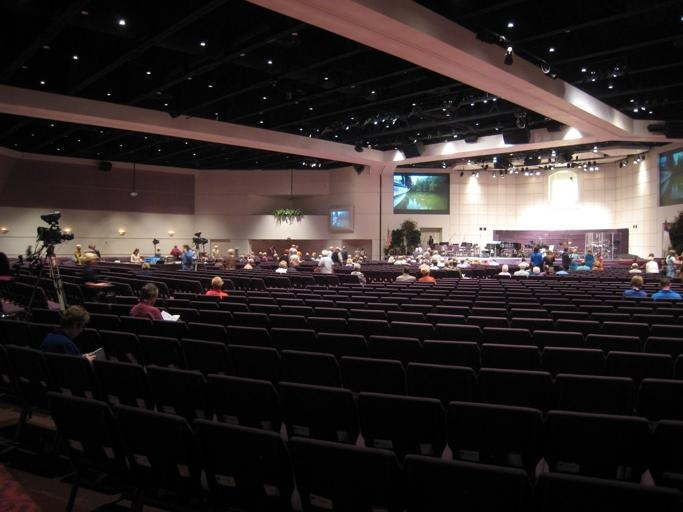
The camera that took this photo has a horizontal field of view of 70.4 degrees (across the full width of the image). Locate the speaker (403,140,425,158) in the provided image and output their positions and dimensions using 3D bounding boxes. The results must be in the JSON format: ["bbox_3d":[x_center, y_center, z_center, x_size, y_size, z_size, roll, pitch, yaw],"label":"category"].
[{"bbox_3d":[2.974,-4.597,20.859,0.819,0.547,1.087,10,-3,-34],"label":"speaker"}]

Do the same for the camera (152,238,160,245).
[{"bbox_3d":[-9.055,-0.709,23.494,0.399,0.169,0.533,0,6,-16],"label":"camera"}]

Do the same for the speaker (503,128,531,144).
[{"bbox_3d":[6.446,-4.450,17.960,0.671,0.544,0.880,0,0,-44],"label":"speaker"}]

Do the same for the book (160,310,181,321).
[{"bbox_3d":[-2.334,0.824,6.585,0.227,0.153,0.329,3,-6,-9],"label":"book"}]

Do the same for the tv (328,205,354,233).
[{"bbox_3d":[-0.009,-2.002,25.891,1.687,1.542,0.237,0,-2,35],"label":"tv"}]

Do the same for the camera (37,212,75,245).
[{"bbox_3d":[-4.469,-0.454,7.471,0.338,0.408,0.473,9,6,2],"label":"camera"}]

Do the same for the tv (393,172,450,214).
[{"bbox_3d":[4.181,-3.521,26.418,2.679,1.619,0.064,0,1,-16],"label":"tv"}]
